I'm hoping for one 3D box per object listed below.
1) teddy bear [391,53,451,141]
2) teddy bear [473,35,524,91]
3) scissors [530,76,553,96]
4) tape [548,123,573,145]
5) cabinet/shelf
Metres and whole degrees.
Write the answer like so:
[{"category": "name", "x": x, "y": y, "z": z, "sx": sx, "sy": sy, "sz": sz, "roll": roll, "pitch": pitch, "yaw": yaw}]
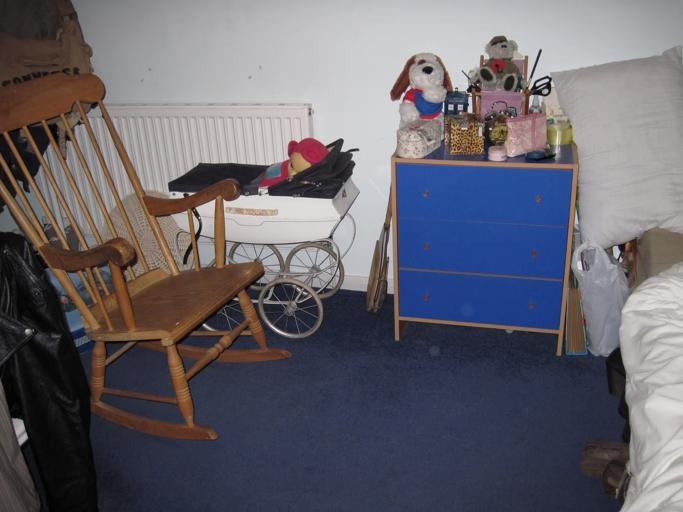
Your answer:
[{"category": "teddy bear", "x": 0.442, "y": -0.888, "z": 2.711, "sx": 0.357, "sy": 0.354, "sz": 0.496, "roll": -3, "pitch": 20, "yaw": 6}, {"category": "teddy bear", "x": 0.892, "y": -1.093, "z": 2.799, "sx": 0.217, "sy": 0.142, "sz": 0.334, "roll": 7, "pitch": 61, "yaw": 14}, {"category": "scissors", "x": 1.089, "y": -0.912, "z": 2.749, "sx": 0.115, "sy": 0.028, "sz": 0.115, "roll": -34, "pitch": 39, "yaw": 5}, {"category": "tape", "x": 1.111, "y": -0.607, "z": 2.562, "sx": 0.113, "sy": 0.082, "sz": 0.115, "roll": 0, "pitch": 16, "yaw": 6}, {"category": "cabinet/shelf", "x": 0.752, "y": -0.071, "z": 2.594, "sx": 0.965, "sy": 1.172, "sz": 0.631, "roll": 2, "pitch": 14, "yaw": 13}]
